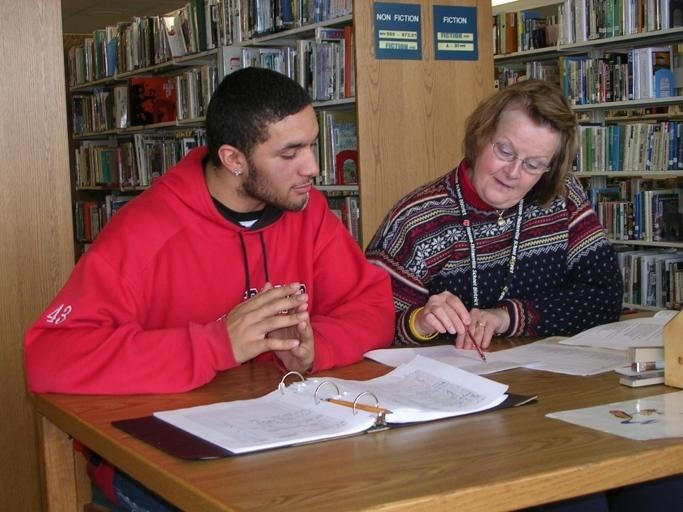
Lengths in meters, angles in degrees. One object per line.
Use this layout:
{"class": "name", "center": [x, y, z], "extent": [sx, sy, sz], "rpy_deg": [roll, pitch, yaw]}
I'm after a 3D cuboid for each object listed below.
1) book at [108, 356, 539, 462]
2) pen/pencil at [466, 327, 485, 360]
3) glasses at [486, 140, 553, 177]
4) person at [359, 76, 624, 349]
{"class": "book", "center": [-0.031, 0.291, 1.118], "extent": [0.714, 0.079, 0.369], "rpy_deg": [1, -5, -33]}
{"class": "pen/pencil", "center": [0.371, 0.246, 1.578], "extent": [0.009, 0.078, 0.008], "rpy_deg": [-35, 0, -42]}
{"class": "glasses", "center": [0.593, -0.325, 1.914], "extent": [0.206, 0.105, 0.187], "rpy_deg": [0, 10, -14]}
{"class": "person", "center": [0.507, -0.138, 1.999], "extent": [1.009, 0.863, 0.531], "rpy_deg": [-3, 26, -6]}
